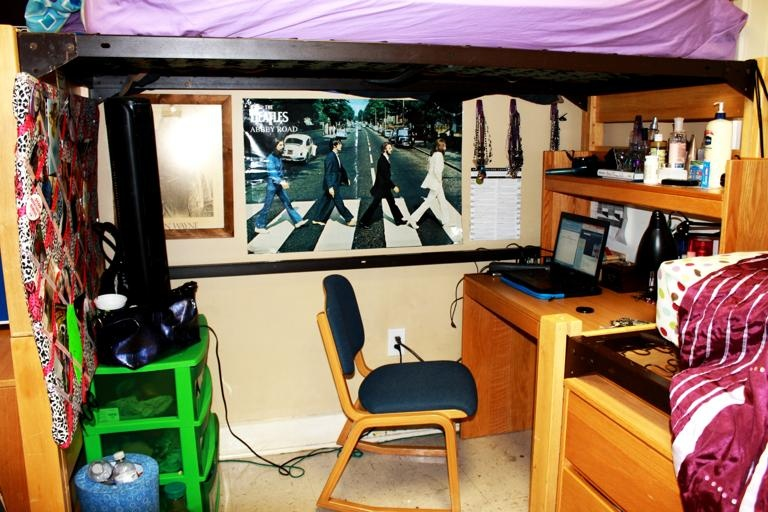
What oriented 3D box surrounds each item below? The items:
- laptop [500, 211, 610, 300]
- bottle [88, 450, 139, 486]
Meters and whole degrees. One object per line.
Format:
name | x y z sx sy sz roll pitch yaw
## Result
laptop | 0.943 -0.012 3.120 0.432 0.377 0.490 -6 13 -15
bottle | -1.142 0.899 2.365 0.126 0.071 0.120 5 8 -1
